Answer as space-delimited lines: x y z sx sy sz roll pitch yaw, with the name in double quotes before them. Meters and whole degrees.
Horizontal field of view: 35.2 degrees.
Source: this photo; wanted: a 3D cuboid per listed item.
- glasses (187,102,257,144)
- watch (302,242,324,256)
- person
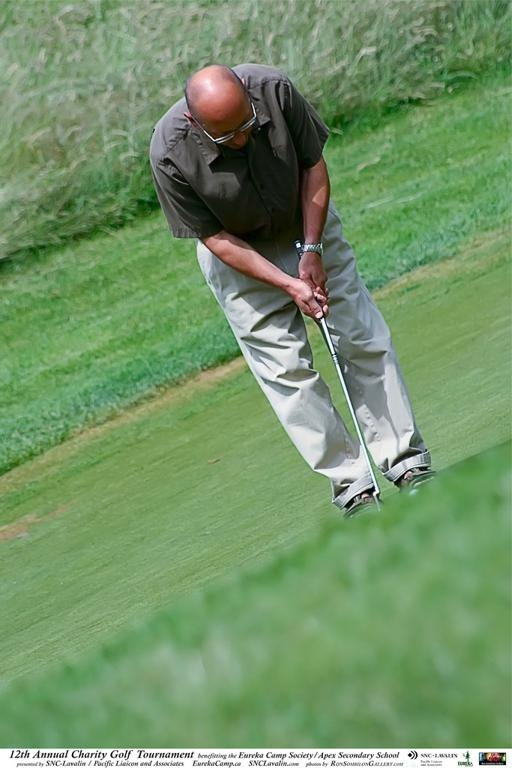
"glasses" -0.074 -0.675 2.081 0.148 0.101 0.094 -23 17 2
"watch" 0.168 -0.392 2.329 0.051 0.024 0.039 4 10 20
"person" 0.155 -0.278 2.342 0.539 1.323 0.572 -29 18 1
